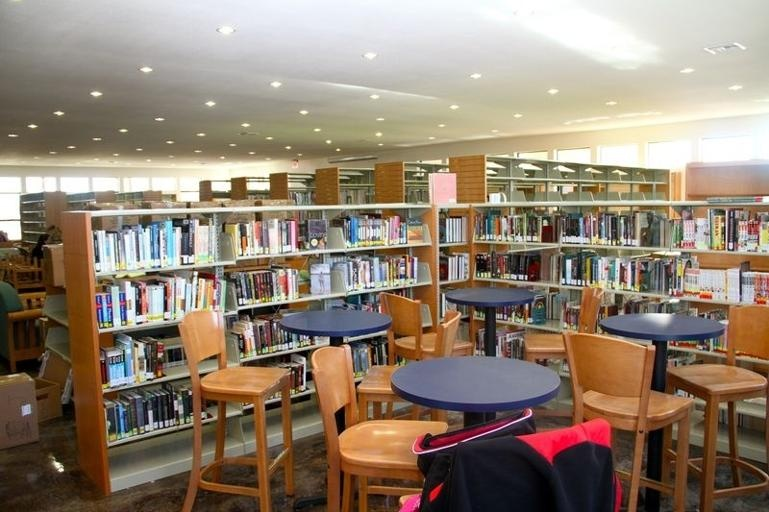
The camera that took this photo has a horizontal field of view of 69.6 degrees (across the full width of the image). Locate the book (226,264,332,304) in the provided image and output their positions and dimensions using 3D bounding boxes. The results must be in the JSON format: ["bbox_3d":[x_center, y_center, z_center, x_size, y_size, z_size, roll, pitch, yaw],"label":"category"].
[{"bbox_3d":[-1.094,0.279,5.515,0.959,0.333,0.456,-8,6,-43],"label":"book"}]

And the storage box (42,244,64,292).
[{"bbox_3d":[-3.816,0.120,6.327,0.201,0.501,0.562,-8,6,-33],"label":"storage box"}]

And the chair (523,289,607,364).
[{"bbox_3d":[1.720,0.615,5.470,0.866,1.095,0.712,1,-1,8],"label":"chair"}]

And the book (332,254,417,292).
[{"bbox_3d":[-0.116,0.169,6.113,1.099,0.381,0.244,-7,6,-37],"label":"book"}]

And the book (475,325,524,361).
[{"bbox_3d":[1.395,0.987,6.468,0.521,0.361,0.539,5,0,36],"label":"book"}]

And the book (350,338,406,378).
[{"bbox_3d":[-0.164,1.044,5.884,0.477,0.167,0.455,-3,5,-39],"label":"book"}]

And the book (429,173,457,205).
[{"bbox_3d":[0.754,-0.862,6.862,0.210,0.363,0.512,0,6,39],"label":"book"}]

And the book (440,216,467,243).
[{"bbox_3d":[0.822,-0.308,6.830,0.336,0.397,0.412,0,-9,-5],"label":"book"}]

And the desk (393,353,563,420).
[{"bbox_3d":[0.578,0.812,3.536,0.658,0.401,0.616,-5,9,-19],"label":"desk"}]

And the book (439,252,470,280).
[{"bbox_3d":[0.798,0.082,6.821,0.328,0.383,0.425,0,2,-22],"label":"book"}]

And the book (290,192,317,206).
[{"bbox_3d":[-2.450,-1.778,16.432,0.621,0.386,0.926,-6,5,-22],"label":"book"}]
